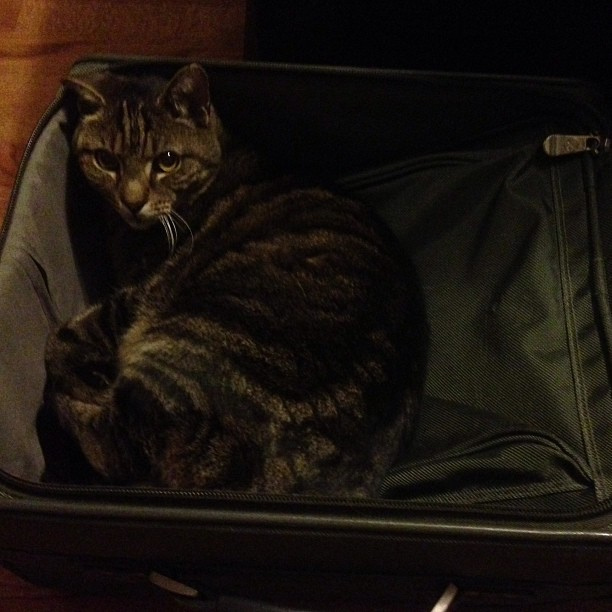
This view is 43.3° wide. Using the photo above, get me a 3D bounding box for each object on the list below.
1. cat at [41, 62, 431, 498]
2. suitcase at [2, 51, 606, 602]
[{"bbox_3d":[-0.088,-0.046,1.101,0.524,0.307,0.674,-17,54,-15],"label":"cat"},{"bbox_3d":[-0.003,0.037,1.005,0.753,0.500,0.599,6,47,3],"label":"suitcase"}]
